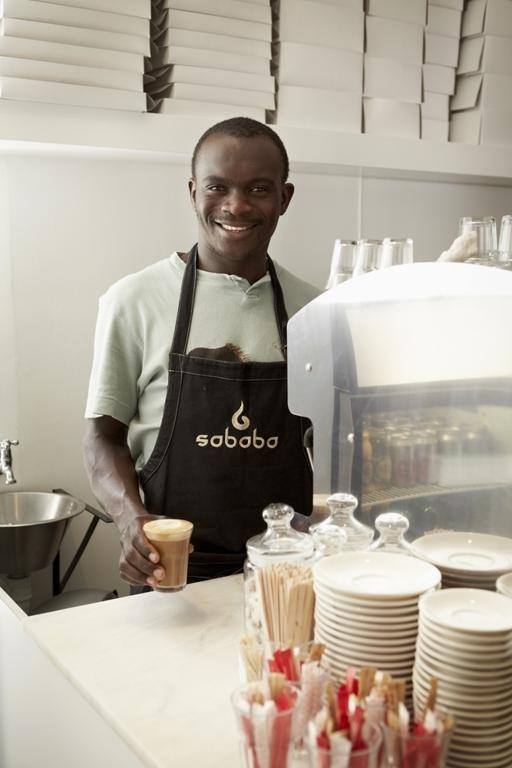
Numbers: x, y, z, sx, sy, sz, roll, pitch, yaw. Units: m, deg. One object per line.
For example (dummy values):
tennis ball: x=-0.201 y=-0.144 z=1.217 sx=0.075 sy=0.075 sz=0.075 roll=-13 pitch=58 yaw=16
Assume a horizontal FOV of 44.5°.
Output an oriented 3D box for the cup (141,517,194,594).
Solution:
cup: x=-0.139 y=0.298 z=1.092 sx=0.111 sy=0.121 sz=0.111 roll=0 pitch=5 yaw=0

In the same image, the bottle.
bottle: x=0.070 y=0.218 z=0.896 sx=0.121 sy=0.238 sz=0.123 roll=0 pitch=0 yaw=0
